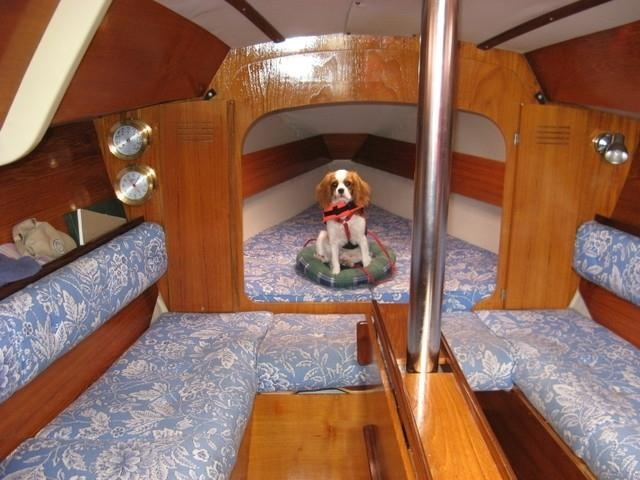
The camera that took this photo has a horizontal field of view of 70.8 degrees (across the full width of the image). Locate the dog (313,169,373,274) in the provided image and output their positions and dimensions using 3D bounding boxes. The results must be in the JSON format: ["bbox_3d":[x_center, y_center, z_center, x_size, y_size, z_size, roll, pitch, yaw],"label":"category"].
[{"bbox_3d":[0.157,-0.094,3.072,0.366,0.683,0.428,-3,-29,5],"label":"dog"}]

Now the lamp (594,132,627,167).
[{"bbox_3d":[1.589,-0.505,2.475,0.140,0.130,0.174,-1,-56,24],"label":"lamp"}]
